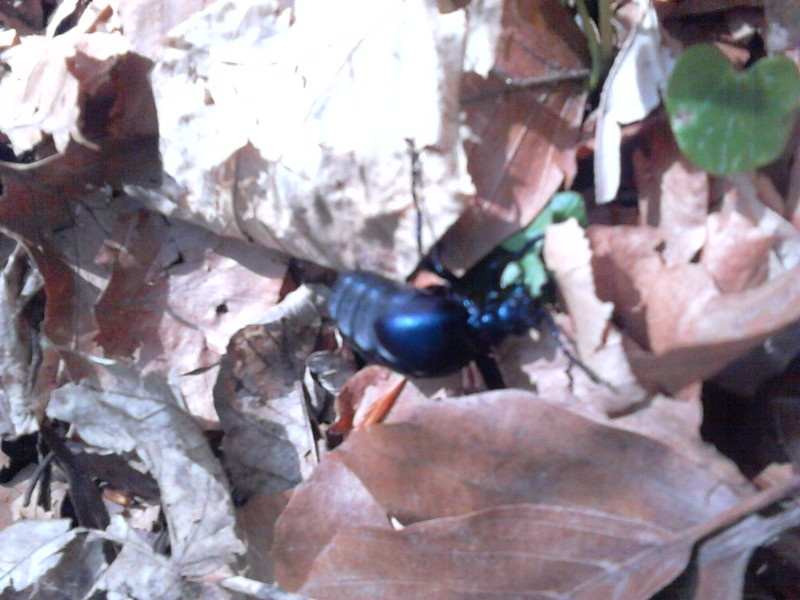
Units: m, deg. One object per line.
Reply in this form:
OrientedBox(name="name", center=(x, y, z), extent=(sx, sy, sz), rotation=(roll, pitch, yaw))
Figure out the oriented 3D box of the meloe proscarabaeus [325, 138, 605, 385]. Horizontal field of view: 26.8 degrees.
OrientedBox(name="meloe proscarabaeus", center=(0.076, 0.002, 1.603), extent=(0.215, 0.065, 0.185), rotation=(-21, 95, 2))
